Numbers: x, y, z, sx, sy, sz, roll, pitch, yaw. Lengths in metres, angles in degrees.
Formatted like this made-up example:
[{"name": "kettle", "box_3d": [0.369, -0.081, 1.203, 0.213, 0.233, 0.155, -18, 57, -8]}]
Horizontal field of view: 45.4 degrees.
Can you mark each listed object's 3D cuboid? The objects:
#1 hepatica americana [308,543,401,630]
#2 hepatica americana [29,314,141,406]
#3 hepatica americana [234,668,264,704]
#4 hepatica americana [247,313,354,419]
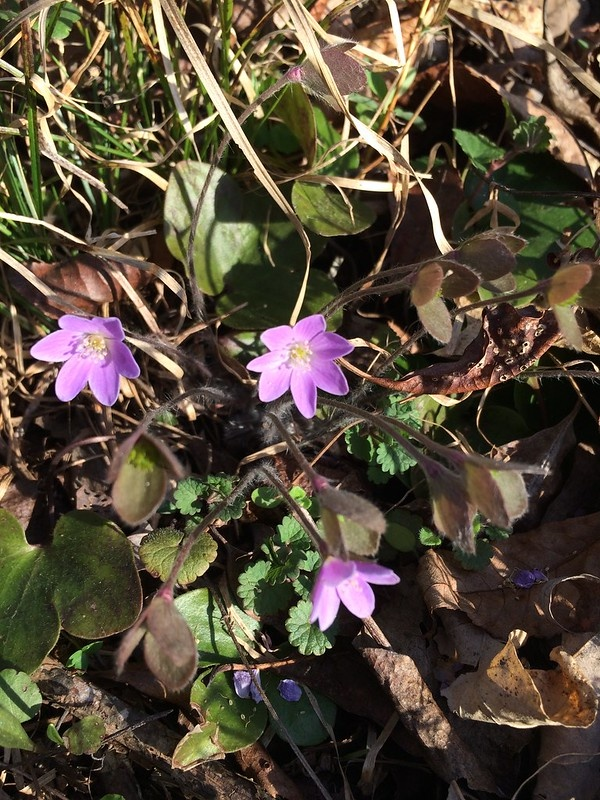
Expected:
[{"name": "hepatica americana", "box_3d": [0.092, 0.363, 1.365, 0.094, 0.175, 0.175, 32, 76, 30]}, {"name": "hepatica americana", "box_3d": [-0.478, -0.092, 1.616, 0.251, 0.215, 0.102, -8, 28, 15]}, {"name": "hepatica americana", "box_3d": [-0.141, 0.724, 1.820, 0.101, 0.040, 0.087, -2, 80, -2]}, {"name": "hepatica americana", "box_3d": [0.013, -0.071, 1.588, 0.221, 0.239, 0.120, -2, 49, 21]}]
